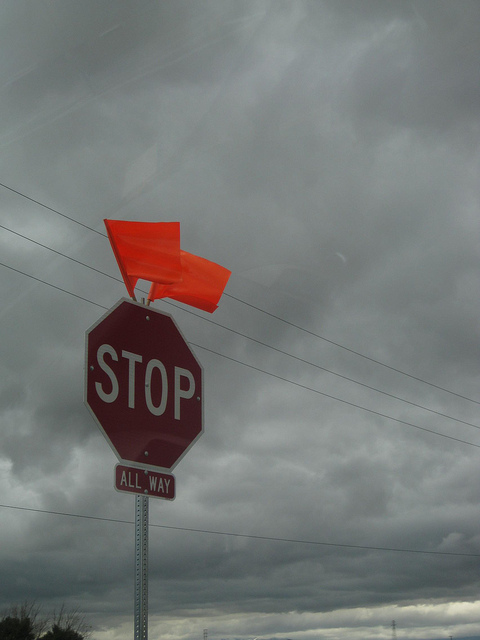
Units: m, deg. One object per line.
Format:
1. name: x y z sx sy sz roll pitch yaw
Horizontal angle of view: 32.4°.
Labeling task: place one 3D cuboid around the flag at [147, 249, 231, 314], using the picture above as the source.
1. flag: -0.523 -0.386 7.666 0.845 0.590 0.137 21 6 -16

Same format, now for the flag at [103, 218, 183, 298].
1. flag: -0.882 -0.567 7.657 0.821 0.773 0.431 5 -23 -15
